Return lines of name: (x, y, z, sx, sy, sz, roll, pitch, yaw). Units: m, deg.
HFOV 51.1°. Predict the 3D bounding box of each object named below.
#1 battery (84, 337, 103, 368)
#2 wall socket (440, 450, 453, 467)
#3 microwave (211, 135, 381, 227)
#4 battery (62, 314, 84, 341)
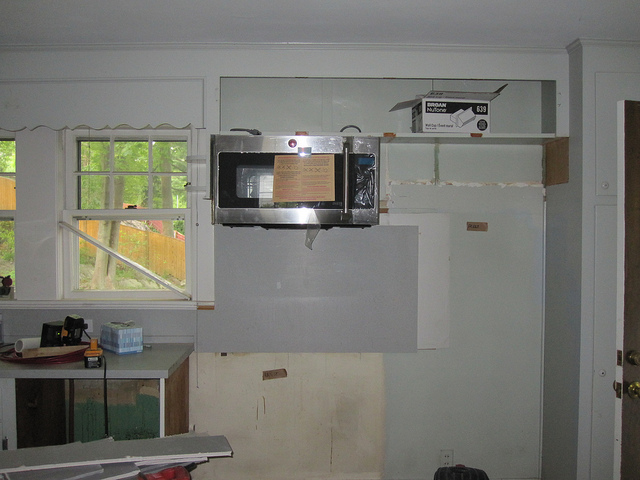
battery: (-1.360, 0.678, 4.028, 0.107, 0.163, 0.090, -1, 2, -12)
wall socket: (0.856, 1.471, 4.495, 0.086, 0.120, 0.013, 12, -4, -5)
microwave: (-0.132, -0.376, 4.231, 0.896, 0.482, 0.553, 0, -2, 1)
battery: (-1.569, 0.555, 4.264, 0.128, 0.150, 0.133, -1, 2, -20)
